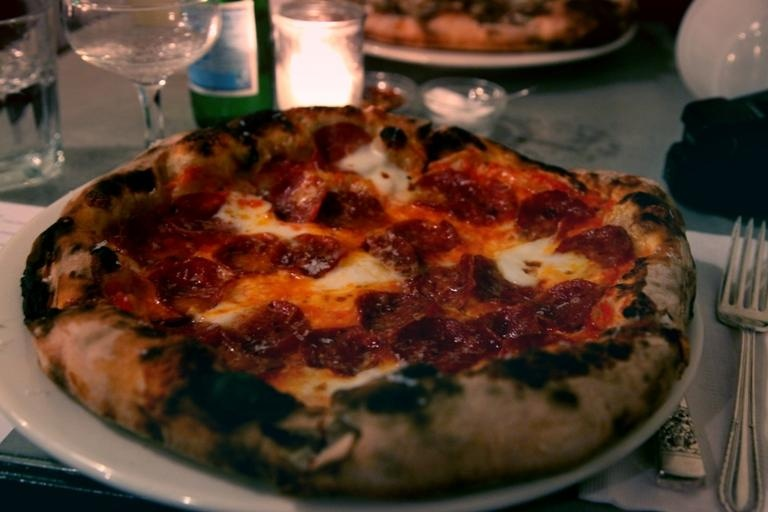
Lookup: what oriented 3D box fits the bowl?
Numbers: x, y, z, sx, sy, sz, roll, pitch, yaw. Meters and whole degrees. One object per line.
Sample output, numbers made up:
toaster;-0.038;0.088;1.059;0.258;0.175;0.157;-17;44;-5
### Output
bowl;0.114;-0.400;1.900;0.310;0.075;0.195;16;36;27
